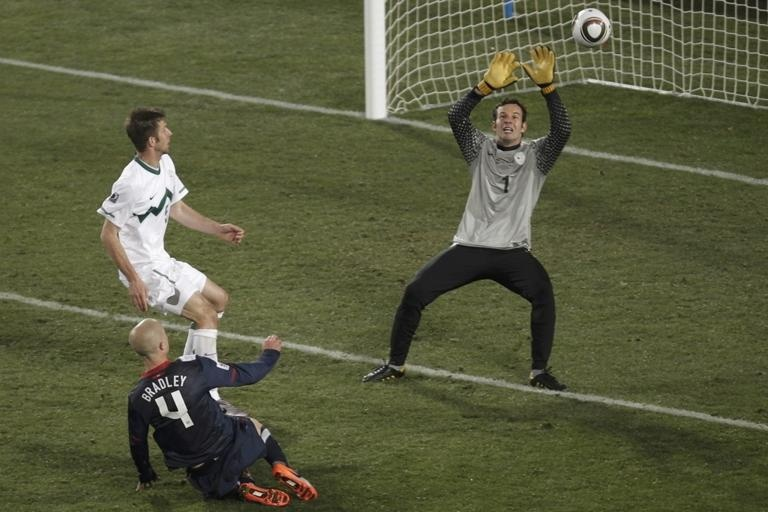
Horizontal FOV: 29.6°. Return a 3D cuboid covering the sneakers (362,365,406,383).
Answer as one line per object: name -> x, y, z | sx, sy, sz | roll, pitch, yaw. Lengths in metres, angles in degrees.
sneakers -> -0.010, 1.073, 13.186 | 0.396, 0.109, 0.154 | 0, 0, -2

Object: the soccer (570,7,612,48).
soccer -> 2.000, -2.251, 14.189 | 0.480, 0.347, 0.405 | -5, 18, 0

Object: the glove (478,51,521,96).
glove -> 1.008, -1.637, 12.879 | 0.314, 0.397, 0.361 | 8, 12, 3

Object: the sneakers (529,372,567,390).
sneakers -> 1.442, 1.124, 13.029 | 0.412, 0.129, 0.134 | 3, 12, 9

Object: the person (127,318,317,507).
person -> -1.397, 1.399, 12.283 | 1.309, 1.433, 0.702 | -31, 31, 16

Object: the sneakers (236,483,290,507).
sneakers -> -1.006, 1.997, 12.097 | 0.551, 0.135, 0.164 | 5, -1, 3
